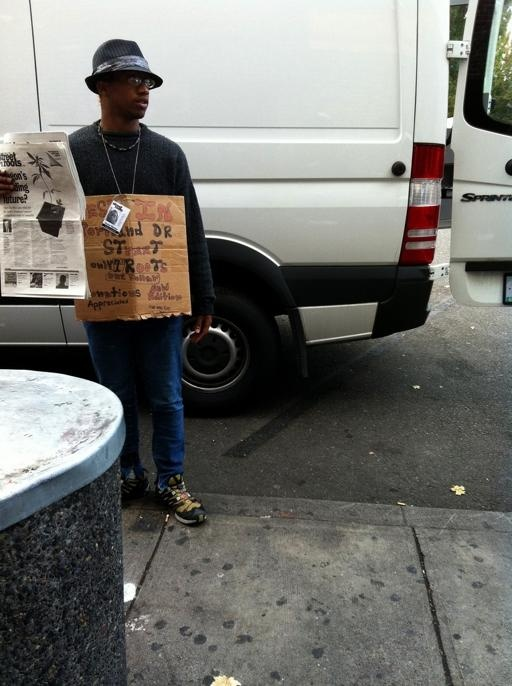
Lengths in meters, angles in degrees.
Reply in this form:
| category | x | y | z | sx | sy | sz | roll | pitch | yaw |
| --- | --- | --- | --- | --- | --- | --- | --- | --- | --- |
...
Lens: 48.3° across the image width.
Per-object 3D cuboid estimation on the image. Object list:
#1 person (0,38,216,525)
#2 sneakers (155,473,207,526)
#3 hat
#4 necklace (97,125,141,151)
| category | x | y | z | sx | sy | sz | roll | pitch | yaw |
| --- | --- | --- | --- | --- | --- | --- | --- | --- | --- |
| person | -0.446 | -0.178 | 2.379 | 0.534 | 1.948 | 0.474 | -1 | 15 | -2 |
| sneakers | -0.331 | 0.658 | 2.509 | 0.311 | 0.132 | 0.110 | 24 | 27 | 32 |
| hat | -0.508 | -1.040 | 2.141 | 0.270 | 0.183 | 0.228 | 0 | 14 | -1 |
| necklace | -0.513 | -0.761 | 2.145 | 0.160 | 0.086 | 0.075 | -4 | 15 | -13 |
